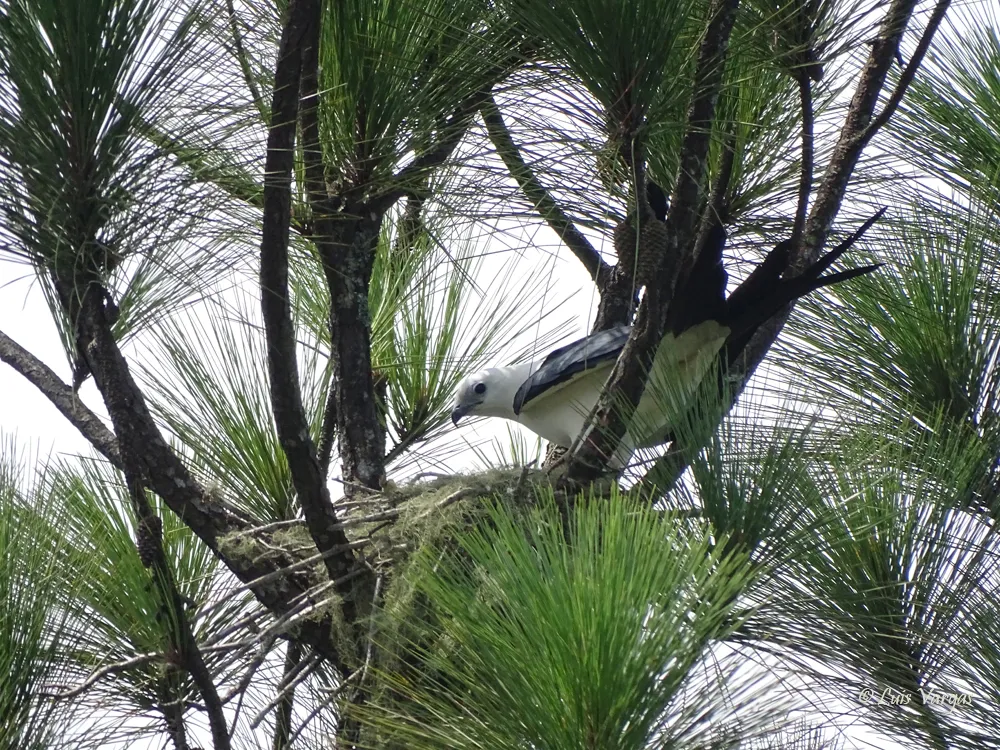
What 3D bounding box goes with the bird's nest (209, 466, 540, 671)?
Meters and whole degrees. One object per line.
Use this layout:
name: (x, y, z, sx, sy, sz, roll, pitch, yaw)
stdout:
bird's nest: (-0.275, 0.421, 3.351, 0.735, 0.481, 0.477, -13, -24, -13)
